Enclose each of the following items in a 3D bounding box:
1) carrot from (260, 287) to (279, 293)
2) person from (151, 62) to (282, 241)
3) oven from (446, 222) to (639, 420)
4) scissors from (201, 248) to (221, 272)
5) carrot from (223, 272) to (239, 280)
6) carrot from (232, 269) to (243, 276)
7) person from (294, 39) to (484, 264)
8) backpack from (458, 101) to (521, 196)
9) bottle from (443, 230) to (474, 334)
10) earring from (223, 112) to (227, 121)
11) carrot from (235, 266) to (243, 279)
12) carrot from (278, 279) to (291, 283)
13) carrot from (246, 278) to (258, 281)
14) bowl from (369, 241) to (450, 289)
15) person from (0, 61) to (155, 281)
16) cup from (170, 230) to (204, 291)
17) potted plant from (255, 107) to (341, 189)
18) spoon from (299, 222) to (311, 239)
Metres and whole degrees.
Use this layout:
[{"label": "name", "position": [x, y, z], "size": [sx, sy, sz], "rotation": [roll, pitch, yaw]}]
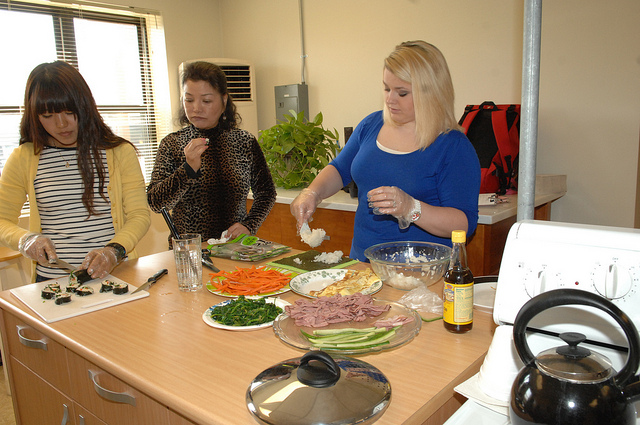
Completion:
[{"label": "carrot", "position": [-0.191, 0.300, 1.659], "size": [0.090, 0.012, 0.020], "rotation": [-5, 54, -15]}, {"label": "person", "position": [-0.628, -0.337, 2.438], "size": [0.583, 0.976, 0.577], "rotation": [3, 16, 18]}, {"label": "oven", "position": [0.617, 0.306, 1.293], "size": [0.512, 0.491, 0.522], "rotation": [13, 1, 41]}, {"label": "scissors", "position": [-0.489, 0.218, 1.940], "size": [0.068, 0.026, 0.124], "rotation": [-21, 32, -38]}, {"label": "carrot", "position": [-0.358, 0.262, 1.724], "size": [0.025, 0.018, 0.093], "rotation": [-16, 20, -41]}, {"label": "carrot", "position": [-0.328, 0.244, 1.737], "size": [0.011, 0.012, 0.048], "rotation": [35, 43, 26]}, {"label": "person", "position": [0.317, -0.343, 1.977], "size": [0.530, 0.831, 0.740], "rotation": [-14, 19, -35]}, {"label": "backpack", "position": [1.225, -0.456, 3.188], "size": [0.390, 0.669, 0.523], "rotation": [-14, 20, -25]}, {"label": "bottle", "position": [0.444, 0.220, 1.370], "size": [0.095, 0.347, 0.107], "rotation": [4, 17, 20]}, {"label": "earring", "position": [-0.564, -0.567, 2.562], "size": [0.014, 0.043, 0.035], "rotation": [2, 16, 16]}, {"label": "carrot", "position": [-0.327, 0.245, 1.755], "size": [0.019, 0.015, 0.058], "rotation": [-6, 33, -21]}, {"label": "carrot", "position": [-0.137, 0.273, 1.710], "size": [0.047, 0.015, 0.018], "rotation": [-9, 17, -25]}, {"label": "carrot", "position": [-0.267, 0.265, 1.700], "size": [0.044, 0.006, 0.012], "rotation": [1, 15, 9]}, {"label": "bowl", "position": [0.347, 0.204, 1.675], "size": [0.306, 0.121, 0.246], "rotation": [0, 15, 6]}, {"label": "person", "position": [-1.183, -0.207, 1.998], "size": [0.659, 0.936, 0.380], "rotation": [-6, 16, -14]}, {"label": "cup", "position": [-0.541, 0.180, 1.816], "size": [0.109, 0.213, 0.280], "rotation": [-7, 16, -16]}, {"label": "potted plant", "position": [-0.088, -0.510, 3.844], "size": [0.768, 0.537, 0.748], "rotation": [-8, 13, -42]}, {"label": "spoon", "position": [-0.063, 0.076, 1.920], "size": [0.047, 0.065, 0.127], "rotation": [-2, 15, -1]}]
